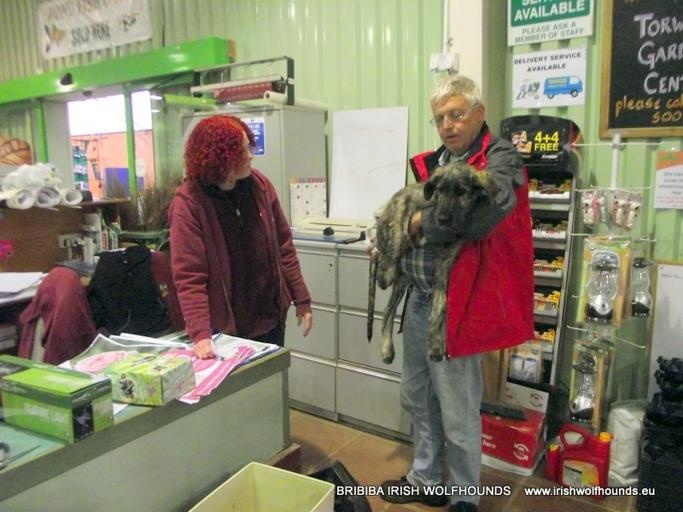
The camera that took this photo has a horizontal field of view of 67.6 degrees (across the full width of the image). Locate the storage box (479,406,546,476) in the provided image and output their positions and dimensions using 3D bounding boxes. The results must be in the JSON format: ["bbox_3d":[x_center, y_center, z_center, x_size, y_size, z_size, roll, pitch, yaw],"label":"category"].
[{"bbox_3d":[1.069,1.041,3.141,0.413,0.275,0.427,3,4,40],"label":"storage box"}]

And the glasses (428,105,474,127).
[{"bbox_3d":[0.495,-0.652,2.421,0.135,0.093,0.248,-6,10,-34],"label":"glasses"}]

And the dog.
[{"bbox_3d":[0.365,0.072,2.381,0.356,0.983,0.705,-3,8,-18],"label":"dog"}]

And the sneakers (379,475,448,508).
[{"bbox_3d":[0.394,1.272,2.810,0.341,0.149,0.151,6,9,18],"label":"sneakers"}]

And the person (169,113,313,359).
[{"bbox_3d":[-0.534,-0.078,2.500,0.406,1.200,0.822,5,10,35],"label":"person"}]
